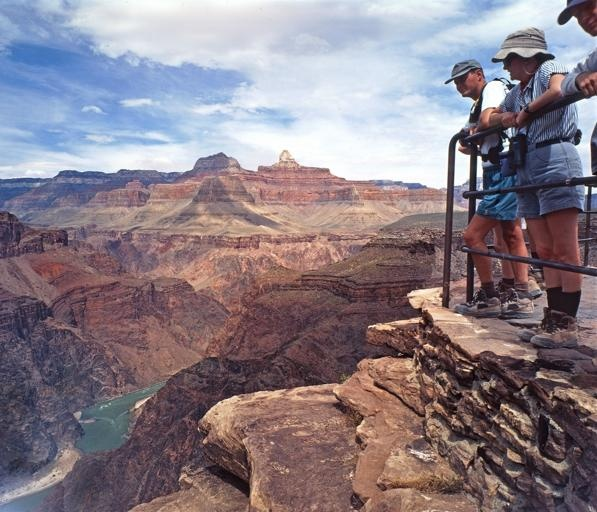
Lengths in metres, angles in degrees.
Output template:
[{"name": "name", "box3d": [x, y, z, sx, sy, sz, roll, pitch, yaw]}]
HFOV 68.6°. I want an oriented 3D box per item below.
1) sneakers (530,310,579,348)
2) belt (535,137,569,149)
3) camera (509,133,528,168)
[{"name": "sneakers", "box3d": [2.135, 0.616, 3.668, 0.299, 0.290, 0.221, 3, 5, 42]}, {"name": "belt", "box3d": [2.197, -0.971, 3.768, 0.177, 0.033, 0.153, 0, 1, 5]}, {"name": "camera", "box3d": [2.039, -1.026, 4.091, 0.169, 0.454, 0.117, 19, -34, -1]}]
